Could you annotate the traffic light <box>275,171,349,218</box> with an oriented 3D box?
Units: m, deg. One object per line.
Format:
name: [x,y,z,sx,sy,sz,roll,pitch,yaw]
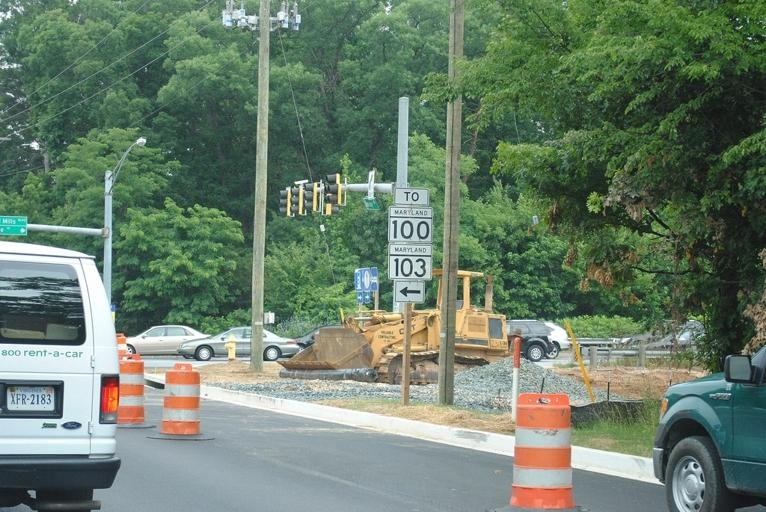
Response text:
traffic light: [-2.408,-2.100,43.517,1.286,1.301,2.889,-1,-2,-40]

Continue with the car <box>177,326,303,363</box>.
car: [-5.807,3.653,52.273,4.832,1.512,1.986,3,-4,-3]

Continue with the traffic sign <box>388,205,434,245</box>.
traffic sign: [0.685,-0.814,32.680,0.964,0.833,0.135,2,-10,-8]

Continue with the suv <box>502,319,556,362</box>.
suv: [6.484,3.640,55.500,1.938,1.735,5.527,-2,-2,8]

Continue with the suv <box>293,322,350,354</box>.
suv: [-2.628,3.333,53.000,2.132,0.820,1.063,-1,-3,-4]

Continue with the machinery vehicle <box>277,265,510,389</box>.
machinery vehicle: [0.840,2.421,41.247,5.968,3.000,3.829,3,-5,-31]
